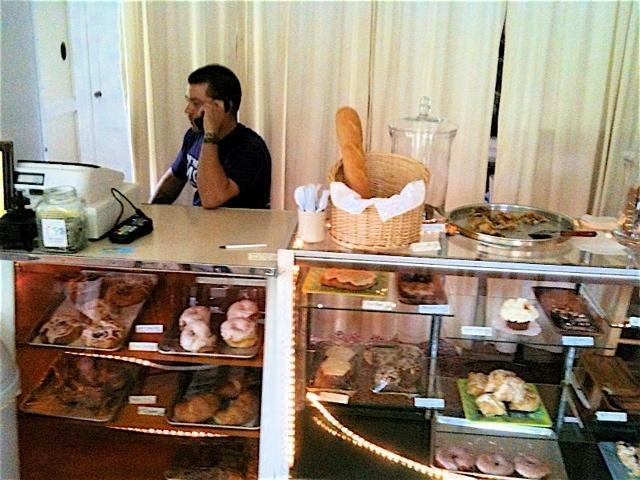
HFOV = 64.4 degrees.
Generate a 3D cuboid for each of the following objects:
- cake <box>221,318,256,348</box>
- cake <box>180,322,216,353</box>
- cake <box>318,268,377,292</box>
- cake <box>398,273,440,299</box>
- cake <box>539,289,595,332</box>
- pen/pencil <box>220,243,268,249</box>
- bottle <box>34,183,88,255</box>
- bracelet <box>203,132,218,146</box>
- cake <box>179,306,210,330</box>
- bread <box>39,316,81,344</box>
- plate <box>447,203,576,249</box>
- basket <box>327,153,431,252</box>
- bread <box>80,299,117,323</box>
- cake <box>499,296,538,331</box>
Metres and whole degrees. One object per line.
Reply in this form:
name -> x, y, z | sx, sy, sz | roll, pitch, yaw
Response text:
cake -> -0.295, 0.343, 1.883 | 0.130, 0.111, 0.043 | 0, 21, -1
cake -> -0.451, 0.360, 1.878 | 0.146, 0.107, 0.052 | -8, -14, -6
cake -> 0.104, 0.142, 1.846 | 0.147, 0.023, 0.117 | -2, 14, -17
cake -> 0.351, 0.158, 1.817 | 0.144, 0.112, 0.074 | 3, 20, 8
cake -> 0.905, 0.258, 1.862 | 0.224, 0.155, 0.067 | 5, 21, 14
pen/pencil -> -0.289, 0.024, 1.922 | 0.287, 0.020, 0.024 | 0, 4, -2
bottle -> -0.914, -0.071, 1.819 | 0.170, 0.229, 0.112 | -12, 24, -32
bracelet -> -0.571, -0.529, 2.659 | 0.089, 0.057, 0.069 | 2, 9, 9
cake -> -0.486, 0.302, 1.945 | 0.085, 0.104, 0.047 | 39, -21, 2
bread -> -0.972, 0.342, 1.924 | 0.167, 0.041, 0.119 | 4, 31, 5
plate -> 0.706, -0.067, 1.970 | 0.310, 0.021, 0.282 | 13, 23, 32
basket -> 0.190, -0.161, 1.862 | 0.478, 0.255, 0.414 | -1, 18, -4
bread -> -0.831, 0.267, 1.910 | 0.092, 0.038, 0.125 | 39, 26, 31
cake -> 0.724, 0.267, 1.925 | 0.166, 0.097, 0.129 | -1, 20, -1
